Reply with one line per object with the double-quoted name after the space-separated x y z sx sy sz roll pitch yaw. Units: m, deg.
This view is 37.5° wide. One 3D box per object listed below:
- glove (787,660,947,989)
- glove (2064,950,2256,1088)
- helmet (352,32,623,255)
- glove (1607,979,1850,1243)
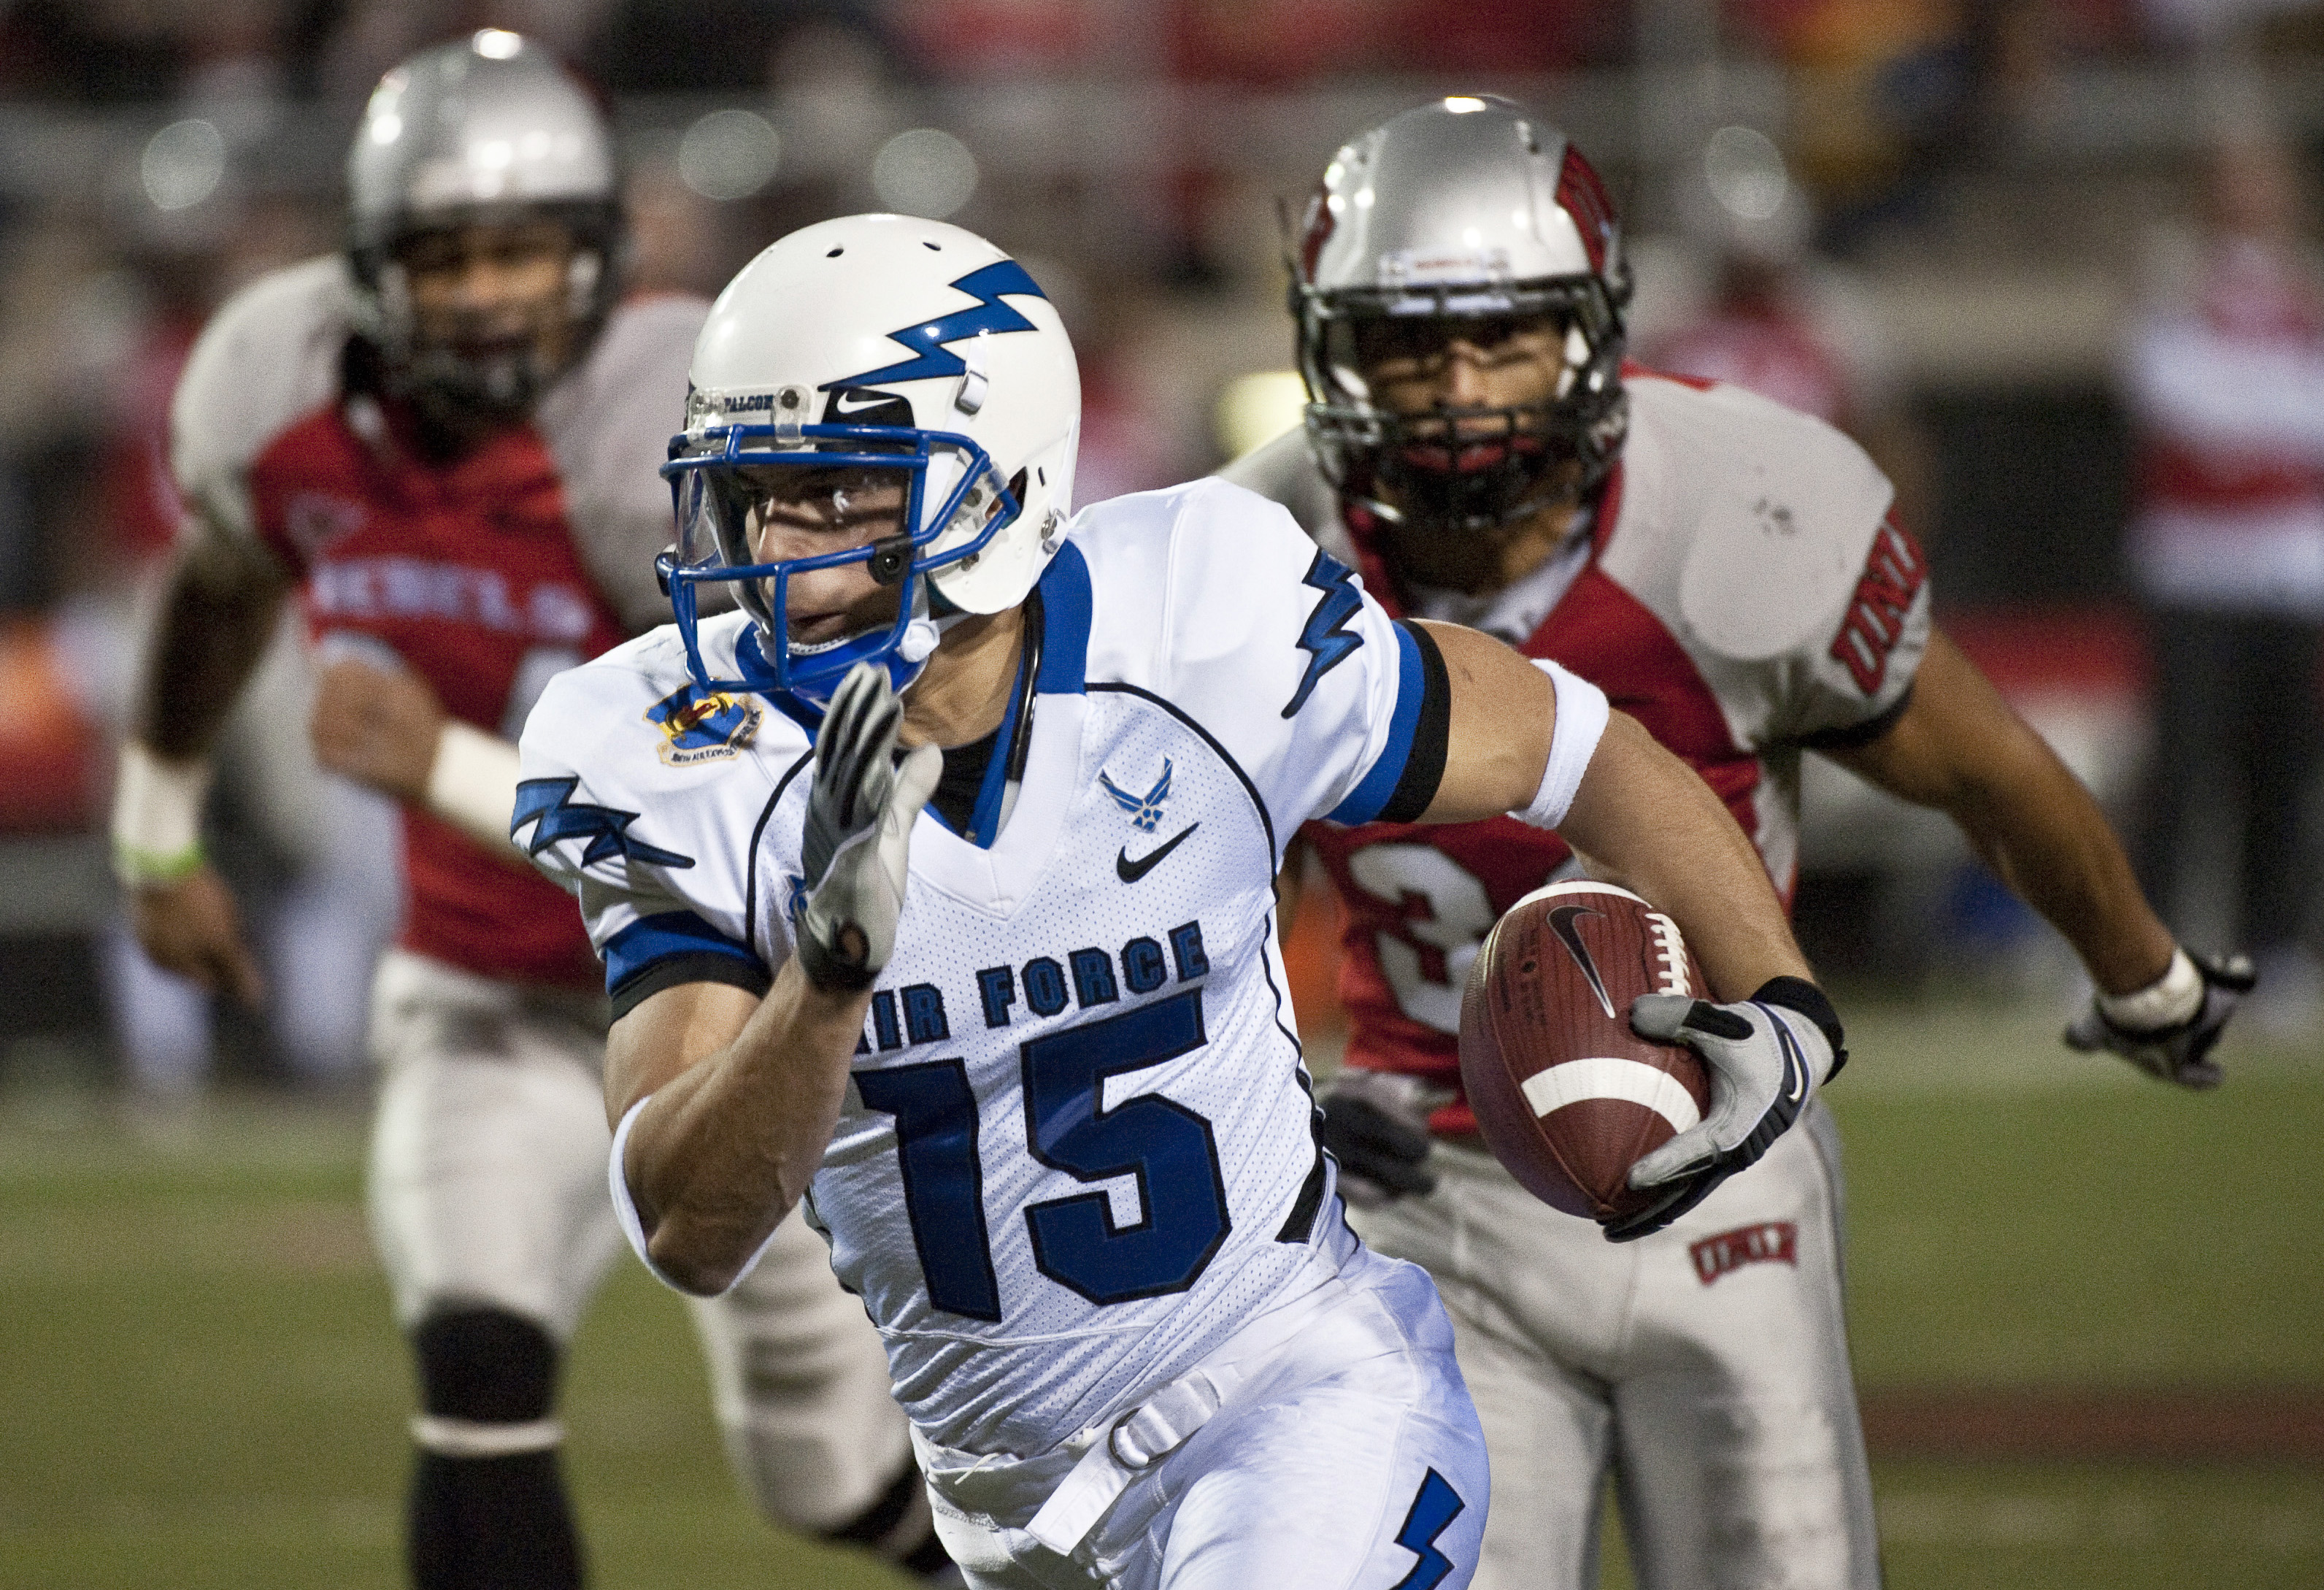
-0.449 0.044 4.867 0.121 0.425 0.238 -4 14 -40 "glove"
1.828 0.385 6.266 0.208 0.243 0.542 -5 8 24 "glove"
-1.388 -1.271 6.946 0.396 0.485 0.511 -16 -17 -2 "helmet"
0.811 0.441 5.140 0.285 0.136 0.459 34 49 17 "glove"
